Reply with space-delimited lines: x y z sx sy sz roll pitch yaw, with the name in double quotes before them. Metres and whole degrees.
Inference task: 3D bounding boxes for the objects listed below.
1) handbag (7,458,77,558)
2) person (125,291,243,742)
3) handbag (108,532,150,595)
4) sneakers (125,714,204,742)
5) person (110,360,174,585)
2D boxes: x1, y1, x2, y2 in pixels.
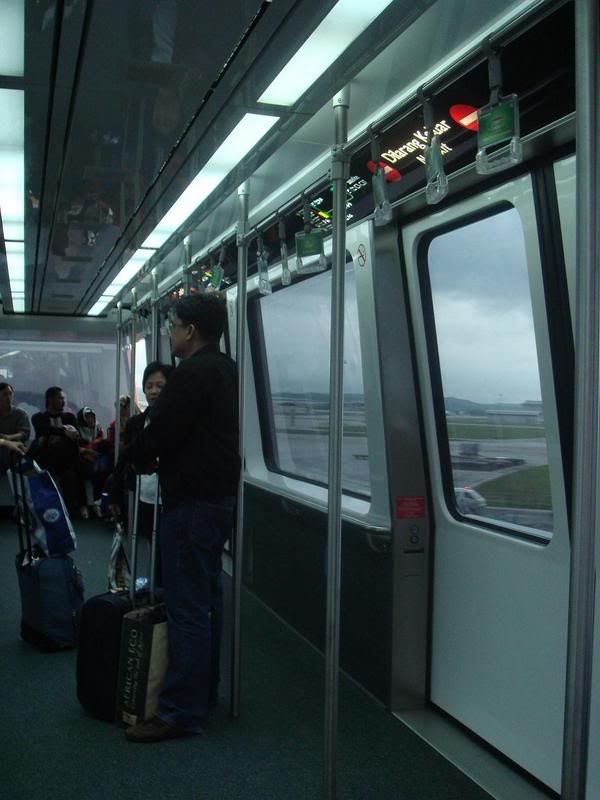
"handbag" -1.569 0.681 3.902 0.392 0.741 0.205 10 24 43
"person" -0.531 0.472 2.797 0.541 2.033 0.374 4 -5 -27
"handbag" -1.054 0.932 3.534 0.185 0.320 0.143 20 -9 -4
"sneakers" -0.599 1.434 2.680 0.312 0.135 0.112 6 -14 -13
"person" -1.029 0.276 3.779 0.281 0.303 1.056 -27 -24 -31
